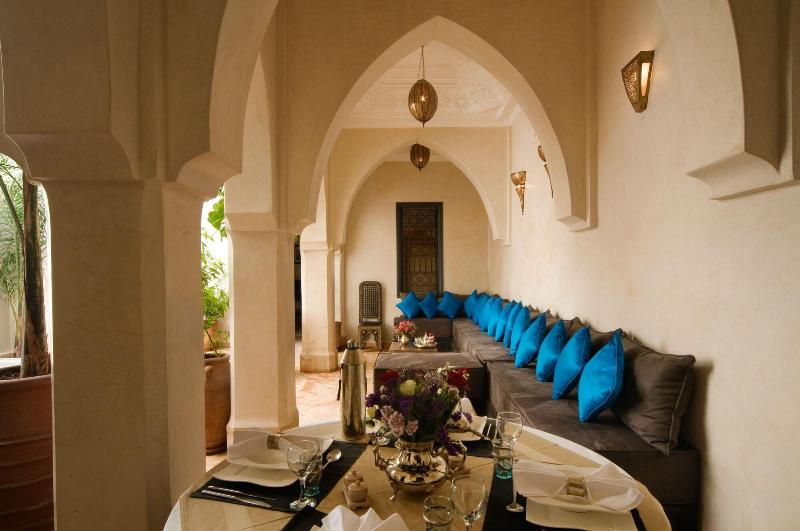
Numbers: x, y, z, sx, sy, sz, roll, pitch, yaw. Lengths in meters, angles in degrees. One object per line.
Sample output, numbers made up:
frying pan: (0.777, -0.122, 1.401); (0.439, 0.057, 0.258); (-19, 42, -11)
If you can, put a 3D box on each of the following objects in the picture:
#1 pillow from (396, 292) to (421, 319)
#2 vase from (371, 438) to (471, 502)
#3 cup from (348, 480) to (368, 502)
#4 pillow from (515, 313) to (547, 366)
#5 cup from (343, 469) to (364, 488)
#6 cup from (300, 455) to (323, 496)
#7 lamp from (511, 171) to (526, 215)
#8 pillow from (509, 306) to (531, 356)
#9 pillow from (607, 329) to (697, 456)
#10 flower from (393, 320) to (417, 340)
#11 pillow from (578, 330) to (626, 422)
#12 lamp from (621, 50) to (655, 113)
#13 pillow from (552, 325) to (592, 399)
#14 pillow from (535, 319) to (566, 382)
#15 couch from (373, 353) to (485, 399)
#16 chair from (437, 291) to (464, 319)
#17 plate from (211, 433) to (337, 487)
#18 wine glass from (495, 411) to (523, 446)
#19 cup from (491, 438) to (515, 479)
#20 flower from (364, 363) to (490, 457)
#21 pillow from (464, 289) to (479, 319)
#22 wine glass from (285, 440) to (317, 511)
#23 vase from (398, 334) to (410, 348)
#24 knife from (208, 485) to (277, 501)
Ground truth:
pillow: (0.190, 0.736, 10.197); (0.374, 0.475, 0.411); (-1, -3, -22)
vase: (0.097, 1.040, 2.881); (0.468, 0.290, 0.321); (1, 7, -1)
cup: (-0.204, 1.083, 2.708); (0.078, 0.081, 0.081); (-1, 0, 0)
pillow: (1.319, 0.764, 5.626); (0.190, 0.373, 0.382); (-5, 20, 31)
cup: (-0.232, 1.056, 2.774); (0.067, 0.069, 0.069); (0, -6, 0)
cup: (-0.439, 1.039, 2.779); (0.111, 0.170, 0.121); (1, -29, 1)
lamp: (1.661, -0.996, 7.765); (0.184, 0.548, 0.689); (-3, -4, 8)
pillow: (1.310, 0.732, 6.093); (0.154, 0.348, 0.464); (5, -5, 13)
pillow: (1.726, 0.897, 3.804); (0.252, 0.529, 0.747); (-6, 1, 2)
flower: (0.092, 1.030, 8.883); (0.273, 0.342, 0.323); (1, -5, -3)
pillow: (1.521, 0.858, 4.239); (0.256, 0.576, 0.581); (8, 5, 13)
lamp: (1.824, -1.388, 4.254); (0.133, 0.334, 0.229); (-2, -3, -14)
pillow: (1.395, 0.804, 4.533); (0.204, 0.393, 0.441); (-2, -25, -6)
pillow: (1.354, 0.778, 5.027); (0.210, 0.525, 0.410); (19, -12, -6)
couch: (0.402, 1.052, 6.088); (1.072, 0.575, 0.752); (-1, -2, 0)
chair: (0.929, 0.726, 10.178); (0.334, 0.495, 0.557); (-5, -4, 36)
plate: (-0.719, 1.007, 2.893); (0.329, 0.105, 0.330); (0, 1, 13)
wine glass: (0.576, 0.867, 3.007); (0.165, 0.190, 0.195); (0, -7, -7)
cup: (0.546, 1.008, 2.926); (0.120, 0.183, 0.127); (-1, 2, 0)
flower: (0.138, 0.754, 2.925); (0.451, 0.384, 0.466); (1, 28, 12)
pillow: (1.178, 0.714, 9.777); (0.123, 0.409, 0.422); (10, 37, -8)
wine glass: (-0.472, 1.019, 2.738); (0.145, 0.295, 0.136); (-2, -3, -10)
vase: (0.061, 1.119, 8.237); (0.170, 0.175, 0.162); (0, 0, -6)
knife: (-0.787, 1.124, 2.771); (0.363, 0.025, 0.098); (6, 0, 7)
